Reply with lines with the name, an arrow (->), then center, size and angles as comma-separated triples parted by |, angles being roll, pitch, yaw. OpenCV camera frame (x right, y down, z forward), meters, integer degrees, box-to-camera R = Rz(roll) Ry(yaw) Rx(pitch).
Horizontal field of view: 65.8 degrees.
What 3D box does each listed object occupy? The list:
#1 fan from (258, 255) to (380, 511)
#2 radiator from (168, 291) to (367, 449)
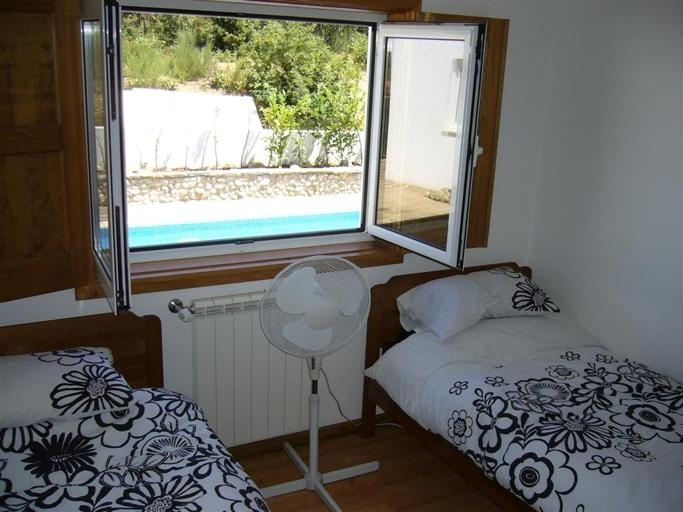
fan -> -0.133, 0.699, 2.929 | 0.582, 1.508, 0.482 | 4, 19, 6
radiator -> -0.485, 0.654, 3.095 | 1.017, 0.878, 0.082 | -6, 19, -24
